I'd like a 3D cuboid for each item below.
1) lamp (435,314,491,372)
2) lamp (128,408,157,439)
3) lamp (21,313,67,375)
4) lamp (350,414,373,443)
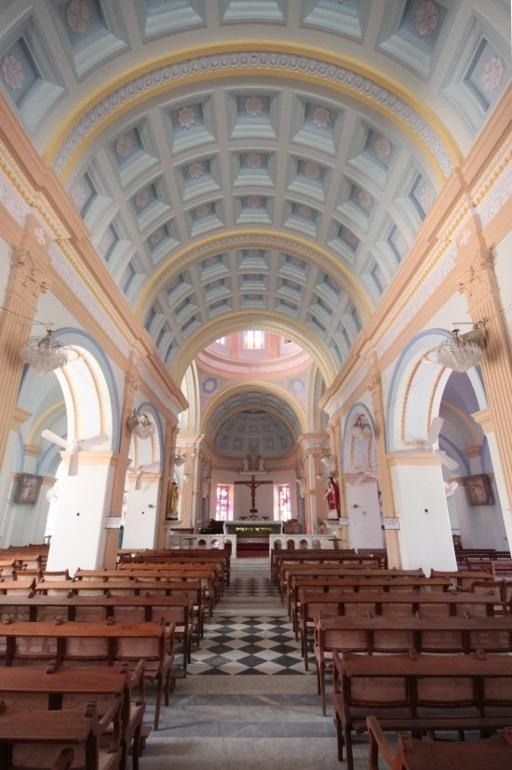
[{"bbox_3d":[2.347,-0.417,4.816,0.708,0.654,0.571,-7,-20,17],"label":"lamp"},{"bbox_3d":[-2.683,0.924,9.714,0.839,0.769,0.345,-8,23,-34],"label":"lamp"},{"bbox_3d":[-2.454,-0.430,4.783,0.468,0.513,0.295,0,-21,-3],"label":"lamp"},{"bbox_3d":[2.985,1.209,11.932,0.638,0.765,0.255,2,3,1],"label":"lamp"}]
